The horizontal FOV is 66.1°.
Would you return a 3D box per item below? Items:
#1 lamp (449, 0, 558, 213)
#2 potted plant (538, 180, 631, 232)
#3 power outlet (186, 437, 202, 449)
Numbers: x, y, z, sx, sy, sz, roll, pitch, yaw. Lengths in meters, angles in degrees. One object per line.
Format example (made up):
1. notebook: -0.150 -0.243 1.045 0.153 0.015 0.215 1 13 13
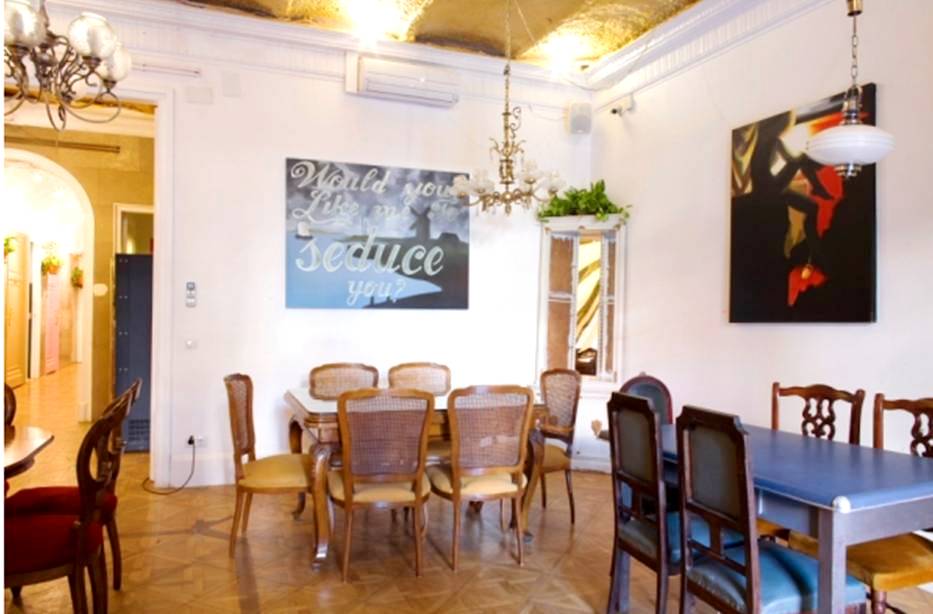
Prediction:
1. lamp: 0.449 -2.029 7.430 0.964 2.082 1.945 1 9 5
2. potted plant: 1.344 -1.117 8.200 0.717 0.400 0.716 -4 6 -23
3. power outlet: -2.740 1.352 7.268 0.154 0.155 0.088 3 3 -26
